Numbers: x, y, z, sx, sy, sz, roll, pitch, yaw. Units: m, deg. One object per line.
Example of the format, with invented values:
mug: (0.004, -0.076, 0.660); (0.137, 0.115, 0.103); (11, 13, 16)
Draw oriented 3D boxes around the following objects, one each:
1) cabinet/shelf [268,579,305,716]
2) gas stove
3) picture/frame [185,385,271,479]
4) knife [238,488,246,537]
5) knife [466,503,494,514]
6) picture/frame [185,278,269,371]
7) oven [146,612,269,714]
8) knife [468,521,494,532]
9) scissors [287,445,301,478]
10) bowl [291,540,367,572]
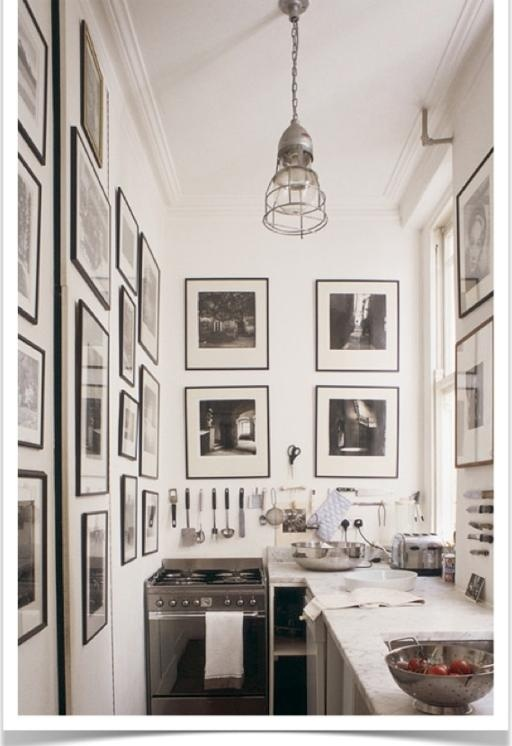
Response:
cabinet/shelf: (0.159, 1.373, 2.856); (0.171, 0.620, 0.267); (0, -8, 4)
gas stove: (-0.252, 1.132, 3.033); (0.590, 0.170, 0.455); (3, -12, -6)
picture/frame: (-0.159, 0.374, 3.395); (0.327, 0.566, 0.018); (0, -2, 5)
knife: (-0.075, 0.806, 3.337); (0.043, 0.280, 0.044); (2, -8, -9)
knife: (0.777, 0.475, 2.025); (0.021, 0.039, 0.105); (4, -4, -29)
picture/frame: (-0.161, -0.267, 3.483); (0.340, 0.569, 0.020); (-1, -2, 5)
oven: (-0.219, 1.283, 2.946); (0.473, 0.638, 0.416); (0, -17, -3)
knife: (0.765, 0.523, 1.972); (0.031, 0.036, 0.074); (22, -14, -40)
scissors: (0.221, 0.520, 3.397); (0.076, 0.190, 0.027); (0, -8, 9)
bowl: (0.379, 0.925, 2.908); (0.369, 0.142, 0.228); (-2, -11, 15)
